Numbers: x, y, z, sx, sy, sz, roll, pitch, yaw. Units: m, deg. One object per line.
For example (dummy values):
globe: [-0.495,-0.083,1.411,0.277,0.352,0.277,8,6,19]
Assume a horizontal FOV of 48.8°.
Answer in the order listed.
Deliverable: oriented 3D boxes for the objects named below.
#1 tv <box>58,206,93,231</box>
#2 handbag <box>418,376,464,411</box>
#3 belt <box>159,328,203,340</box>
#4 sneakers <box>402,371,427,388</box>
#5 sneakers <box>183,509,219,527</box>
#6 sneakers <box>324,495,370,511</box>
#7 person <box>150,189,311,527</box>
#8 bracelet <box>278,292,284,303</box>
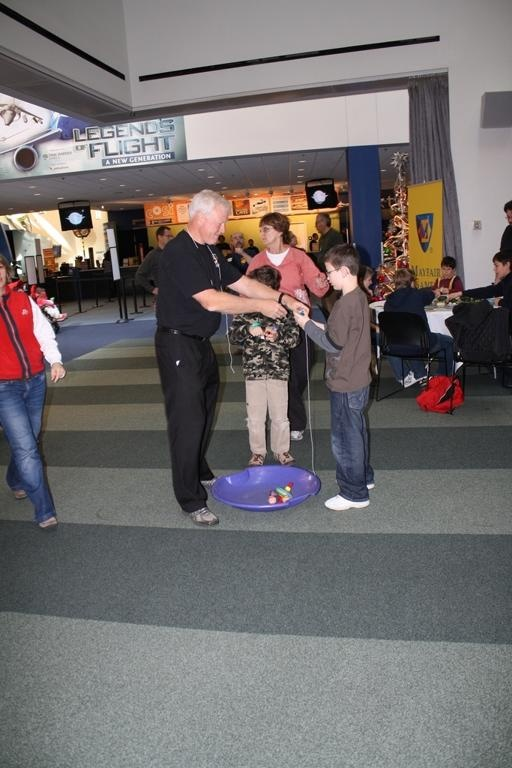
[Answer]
tv: [-5.590,-5.233,17.545,0.978,0.757,0.481,-2,6,19]
handbag: [1.562,0.086,4.775,0.353,0.297,0.294,-2,6,15]
belt: [-0.362,-0.251,2.779,0.197,0.076,0.079,-5,6,-9]
sneakers: [1.588,-0.046,5.535,0.324,0.140,0.107,-11,0,-39]
sneakers: [-0.284,0.672,2.920,0.167,0.075,0.078,5,12,35]
sneakers: [0.492,0.621,3.039,0.235,0.096,0.086,2,7,5]
person: [-0.145,-0.133,2.927,0.699,1.583,0.658,4,9,21]
bracelet: [0.130,-0.464,3.026,0.036,0.047,0.047,6,-22,-5]
